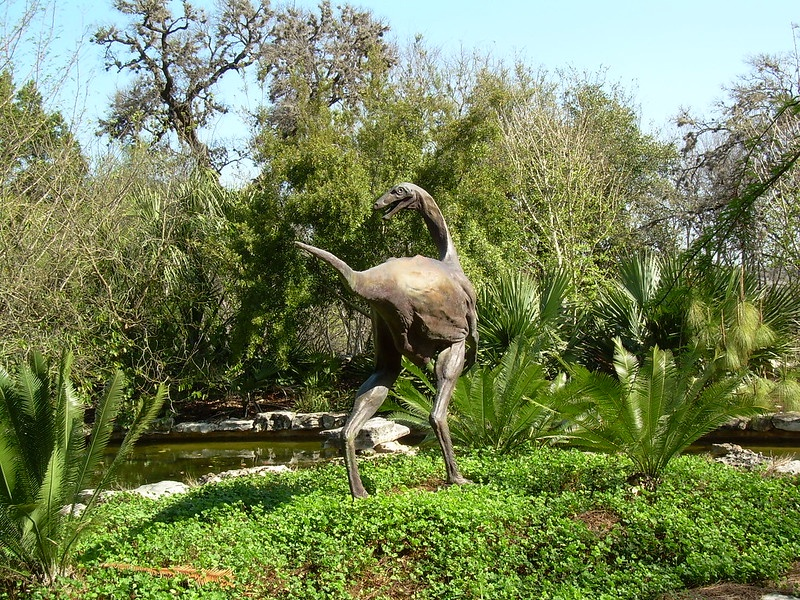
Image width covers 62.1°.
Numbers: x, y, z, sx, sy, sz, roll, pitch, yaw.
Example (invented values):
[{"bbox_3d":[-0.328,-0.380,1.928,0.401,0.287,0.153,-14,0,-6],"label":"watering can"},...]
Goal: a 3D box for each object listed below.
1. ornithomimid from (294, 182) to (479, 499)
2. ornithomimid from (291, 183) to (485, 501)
[{"bbox_3d":[0.124,0.355,7.153,1.827,3.188,1.058,-6,8,-26],"label":"ornithomimid"},{"bbox_3d":[-0.095,0.246,7.022,1.638,3.704,1.943,-1,2,12],"label":"ornithomimid"}]
